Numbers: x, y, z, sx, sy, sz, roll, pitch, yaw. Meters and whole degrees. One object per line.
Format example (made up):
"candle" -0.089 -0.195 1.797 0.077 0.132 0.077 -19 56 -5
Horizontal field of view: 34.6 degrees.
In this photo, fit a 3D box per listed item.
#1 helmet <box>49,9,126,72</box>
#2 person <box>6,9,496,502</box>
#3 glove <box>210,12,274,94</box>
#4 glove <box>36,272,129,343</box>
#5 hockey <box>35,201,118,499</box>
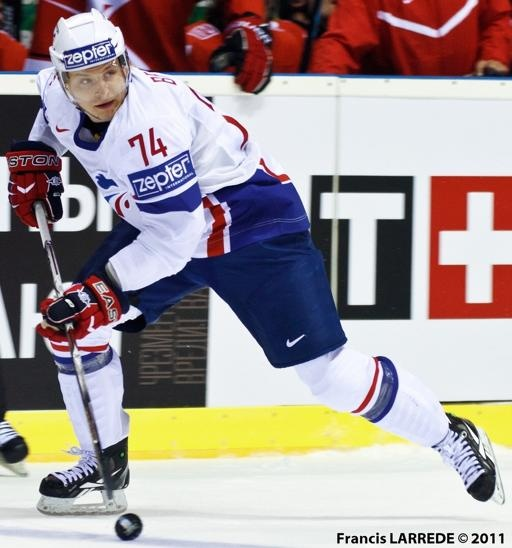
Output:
"helmet" -0.448 -0.621 2.258 0.174 0.161 0.206 -20 13 -7
"person" -0.047 -0.034 2.485 1.211 1.448 0.450 -4 15 -12
"glove" -0.055 -0.756 2.842 0.165 0.148 0.303 -2 6 -7
"glove" -0.460 0.076 2.292 0.243 0.091 0.145 -19 60 -34
"hockey" -0.560 0.209 2.597 0.103 1.004 0.123 -16 7 1
